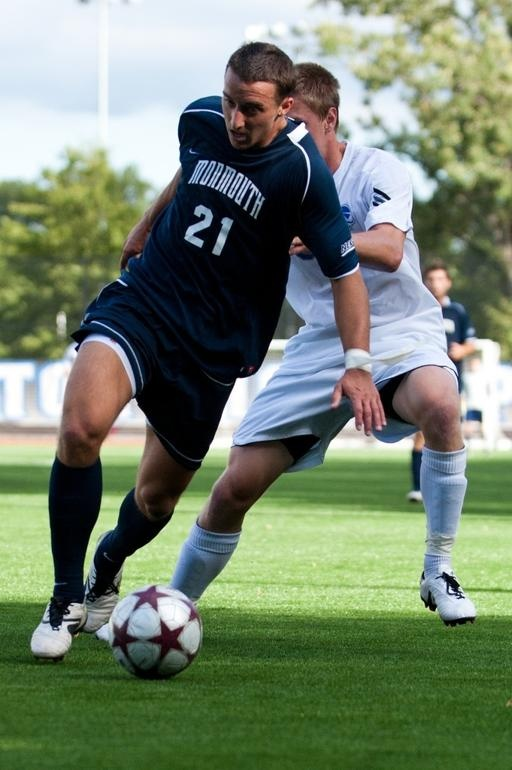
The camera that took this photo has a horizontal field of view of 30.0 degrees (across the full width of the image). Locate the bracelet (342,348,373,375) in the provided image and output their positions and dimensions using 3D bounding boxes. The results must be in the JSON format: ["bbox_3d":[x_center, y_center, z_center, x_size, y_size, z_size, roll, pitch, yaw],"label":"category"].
[{"bbox_3d":[0.288,-0.070,2.727,0.075,0.048,0.067,-1,-3,13],"label":"bracelet"}]

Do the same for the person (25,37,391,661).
[{"bbox_3d":[-0.131,-0.070,2.753,0.899,1.741,0.586,4,4,-11],"label":"person"}]

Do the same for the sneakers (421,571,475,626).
[{"bbox_3d":[0.596,0.669,3.042,0.100,0.106,0.248,-10,13,-23],"label":"sneakers"}]
